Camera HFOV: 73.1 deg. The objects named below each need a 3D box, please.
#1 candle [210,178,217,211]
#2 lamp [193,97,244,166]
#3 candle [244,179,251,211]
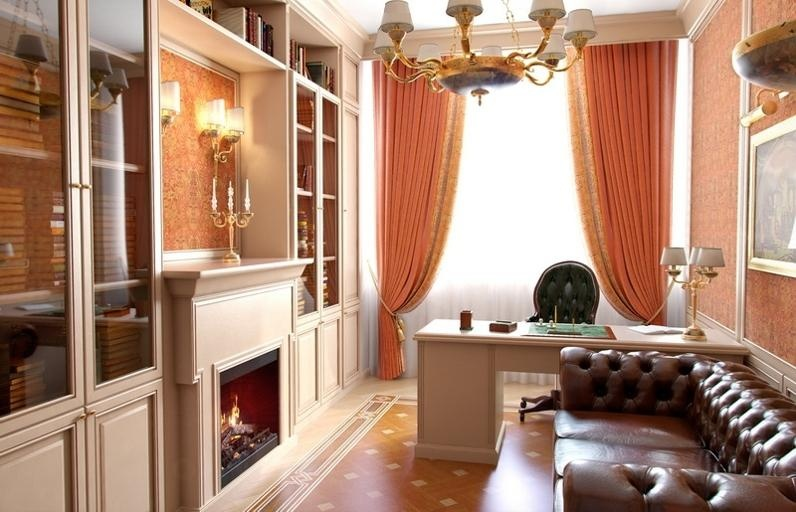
[{"bbox_3d":[-1.442,-0.475,4.208,0.052,0.265,0.476,-3,7,-18],"label":"candle"},{"bbox_3d":[-1.403,-0.989,4.371,0.240,0.502,0.468,1,7,14],"label":"lamp"},{"bbox_3d":[-1.238,-0.487,4.400,0.056,0.273,0.571,-2,7,-16],"label":"candle"}]
